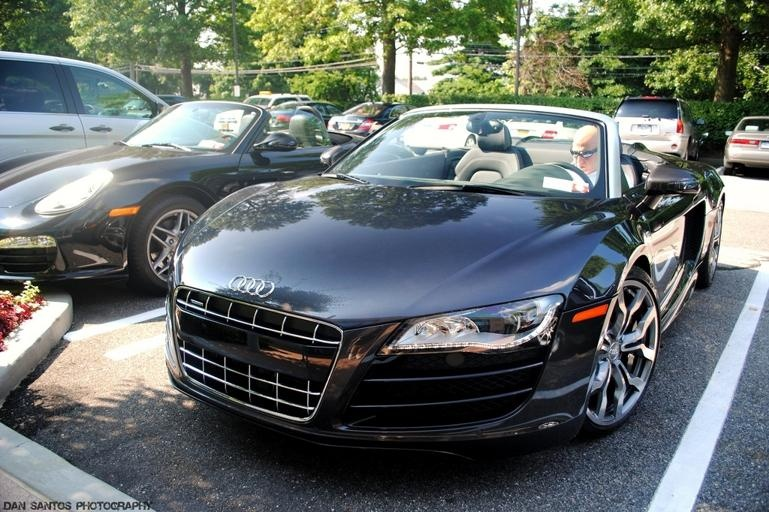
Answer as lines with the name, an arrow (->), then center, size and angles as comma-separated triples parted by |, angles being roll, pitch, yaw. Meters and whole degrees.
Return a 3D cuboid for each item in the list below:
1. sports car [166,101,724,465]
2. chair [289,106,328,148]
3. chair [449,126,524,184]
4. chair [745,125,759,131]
sports car -> 1.086, -0.083, 3.760 | 2.325, 0.936, 3.902 | 7, 12, 38
chair -> -0.948, -1.608, 6.791 | 0.381, 0.562, 0.461 | -24, 34, -33
chair -> 0.762, -0.655, 3.909 | 0.554, 0.520, 0.545 | 2, 21, 15
chair -> 9.694, -3.335, 13.934 | 0.278, 0.167, 0.344 | -8, 16, -35
